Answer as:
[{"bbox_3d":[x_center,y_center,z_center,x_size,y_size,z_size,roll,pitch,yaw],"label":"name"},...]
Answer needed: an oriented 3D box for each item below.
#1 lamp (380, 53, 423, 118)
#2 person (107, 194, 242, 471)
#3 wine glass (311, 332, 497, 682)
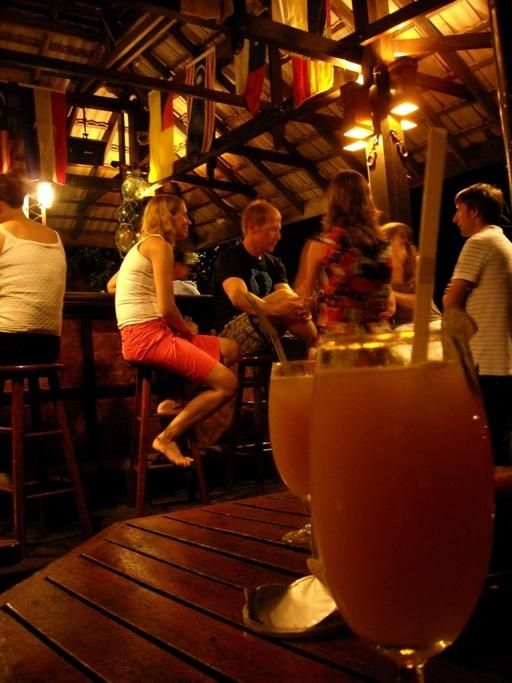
[{"bbox_3d":[1.477,-2.600,5.834,0.444,0.580,0.414,-7,21,-5],"label":"lamp"},{"bbox_3d":[-0.486,-0.114,3.452,0.649,1.726,0.579,-3,-8,-24],"label":"person"},{"bbox_3d":[0.078,0.081,0.302,0.090,0.164,0.036,-6,-7,5],"label":"wine glass"}]
